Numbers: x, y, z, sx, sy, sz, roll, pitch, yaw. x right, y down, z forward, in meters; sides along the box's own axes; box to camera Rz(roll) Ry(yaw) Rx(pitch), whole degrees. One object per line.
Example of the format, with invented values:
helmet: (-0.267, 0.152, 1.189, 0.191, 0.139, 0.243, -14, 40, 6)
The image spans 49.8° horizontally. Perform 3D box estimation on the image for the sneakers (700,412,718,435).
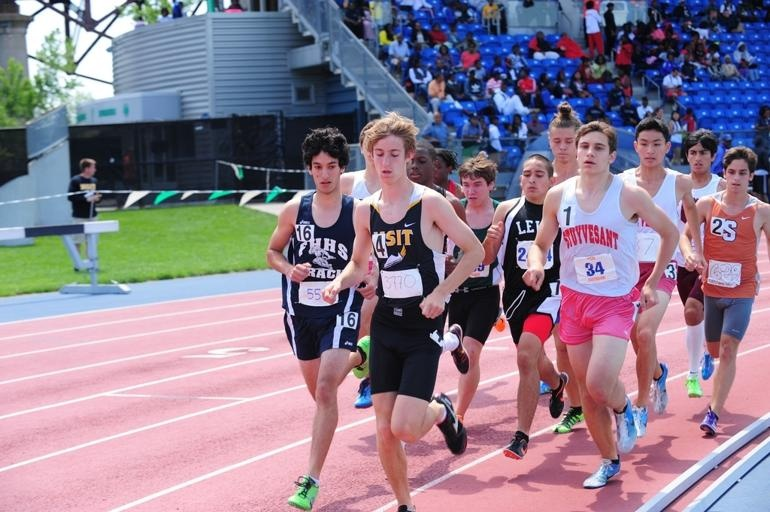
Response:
sneakers: (3.300, 1.708, 8.459, 0.115, 0.154, 0.344, 10, -22, 22)

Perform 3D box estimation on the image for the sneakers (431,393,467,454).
sneakers: (0.622, 1.545, 7.497, 0.217, 0.643, 0.275, -8, 29, 35)

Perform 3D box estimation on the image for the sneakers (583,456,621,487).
sneakers: (1.993, 1.954, 7.572, 0.443, 0.173, 0.165, -16, 19, -28)

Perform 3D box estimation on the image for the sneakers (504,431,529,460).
sneakers: (1.241, 1.766, 7.707, 0.129, 0.170, 0.383, 8, -7, 22)
